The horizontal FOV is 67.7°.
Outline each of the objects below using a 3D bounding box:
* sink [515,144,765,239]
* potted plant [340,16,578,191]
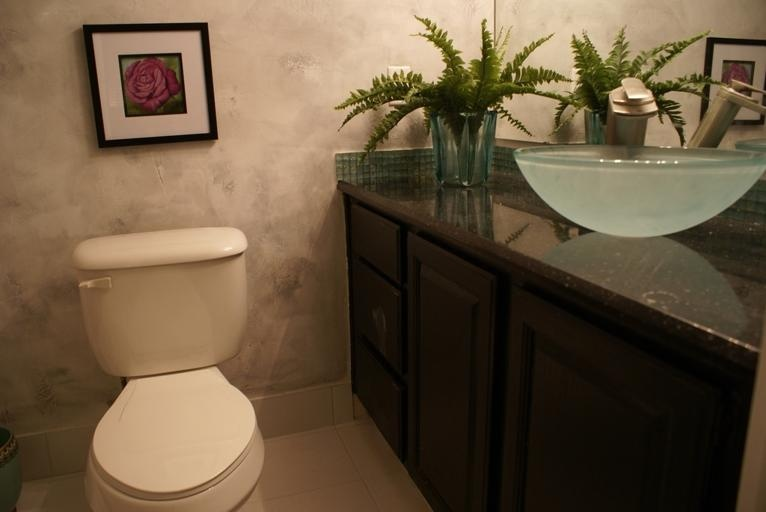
[{"bbox_3d":[0.577,-0.153,1.355,0.520,0.215,0.343,1,22,13],"label":"sink"},{"bbox_3d":[0.260,-0.543,2.071,0.667,0.484,0.673,-11,21,-24],"label":"potted plant"}]
